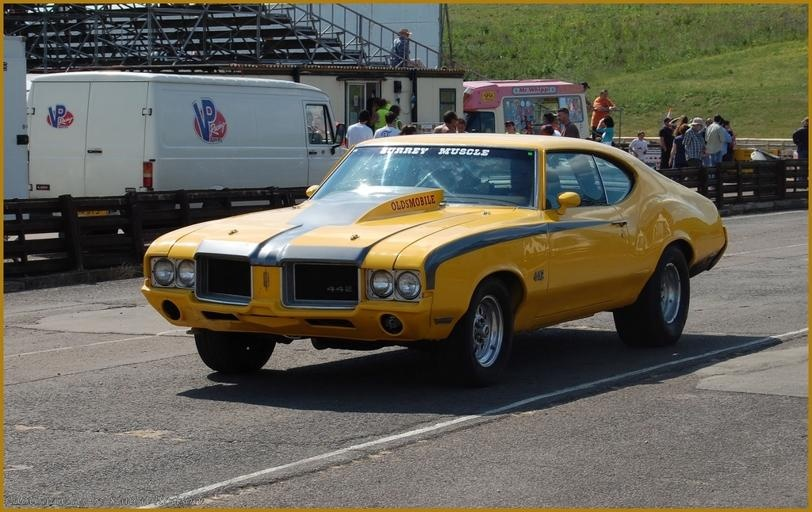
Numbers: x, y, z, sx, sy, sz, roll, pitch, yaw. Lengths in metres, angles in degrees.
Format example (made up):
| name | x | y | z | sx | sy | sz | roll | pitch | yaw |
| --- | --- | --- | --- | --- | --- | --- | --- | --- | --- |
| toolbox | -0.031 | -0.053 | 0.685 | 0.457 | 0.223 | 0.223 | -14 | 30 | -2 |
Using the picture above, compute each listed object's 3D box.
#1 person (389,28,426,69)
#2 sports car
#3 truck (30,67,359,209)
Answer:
| name | x | y | z | sx | sy | sz | roll | pitch | yaw |
| --- | --- | --- | --- | --- | --- | --- | --- | --- | --- |
| person | 0.075 | -7.982 | 31.277 | 1.132 | 1.480 | 1.421 | 9 | 14 | 41 |
| sports car | 0.758 | -0.100 | 8.256 | 2.659 | 1.647 | 4.949 | -1 | 0 | 44 |
| truck | -4.677 | -2.444 | 17.437 | 5.285 | 2.343 | 2.798 | -6 | 8 | -38 |
